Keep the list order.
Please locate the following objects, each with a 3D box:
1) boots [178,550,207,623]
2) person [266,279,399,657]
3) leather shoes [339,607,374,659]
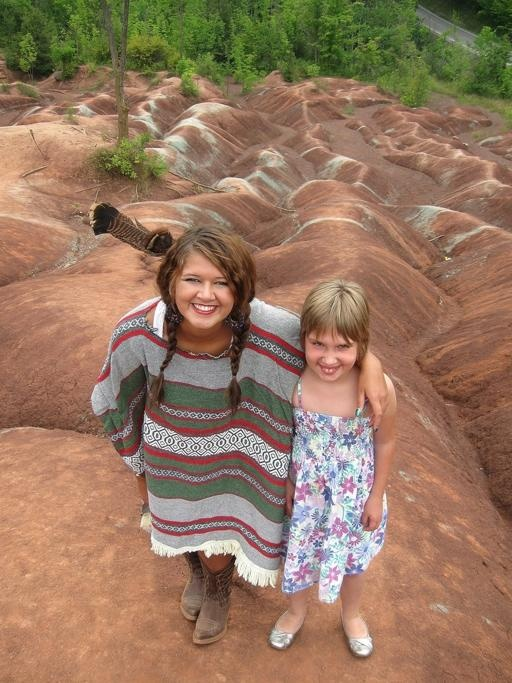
[{"bbox_3d":[-0.289,1.158,2.702,0.129,0.265,0.290,1,16,5],"label":"boots"},{"bbox_3d":[0.359,0.663,2.368,0.498,1.800,0.591,6,30,4],"label":"person"},{"bbox_3d":[0.466,1.363,2.574,0.116,0.071,0.259,-11,49,-7],"label":"leather shoes"}]
